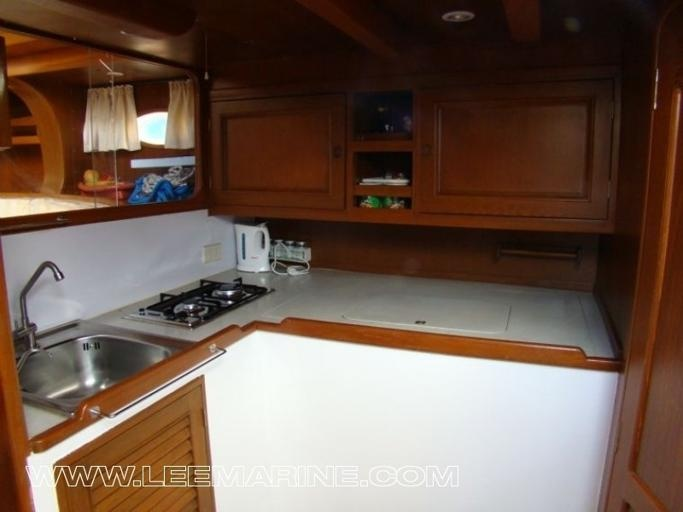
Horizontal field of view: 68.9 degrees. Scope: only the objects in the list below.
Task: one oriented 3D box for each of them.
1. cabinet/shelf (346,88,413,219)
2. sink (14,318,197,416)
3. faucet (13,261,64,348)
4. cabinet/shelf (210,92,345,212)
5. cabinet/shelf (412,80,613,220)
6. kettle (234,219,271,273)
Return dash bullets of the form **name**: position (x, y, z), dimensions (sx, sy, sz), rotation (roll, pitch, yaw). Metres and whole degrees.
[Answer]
- **cabinet/shelf**: position (0.203, -0.506, 2.471), dimensions (0.337, 0.548, 0.338), rotation (6, 16, 17)
- **sink**: position (-0.976, 0.354, 1.957), dimensions (0.351, 0.177, 0.424), rotation (12, 20, 32)
- **faucet**: position (-1.159, 0.179, 1.921), dimensions (0.173, 0.335, 0.229), rotation (-3, 10, -29)
- **cabinet/shelf**: position (-0.232, -0.530, 2.676), dimensions (0.893, 0.643, 0.470), rotation (7, 14, 25)
- **cabinet/shelf**: position (0.823, -0.487, 2.320), dimensions (0.875, 0.591, 0.466), rotation (6, 18, 31)
- **kettle**: position (-0.503, -0.048, 2.828), dimensions (0.286, 0.363, 0.131), rotation (3, 3, 24)
